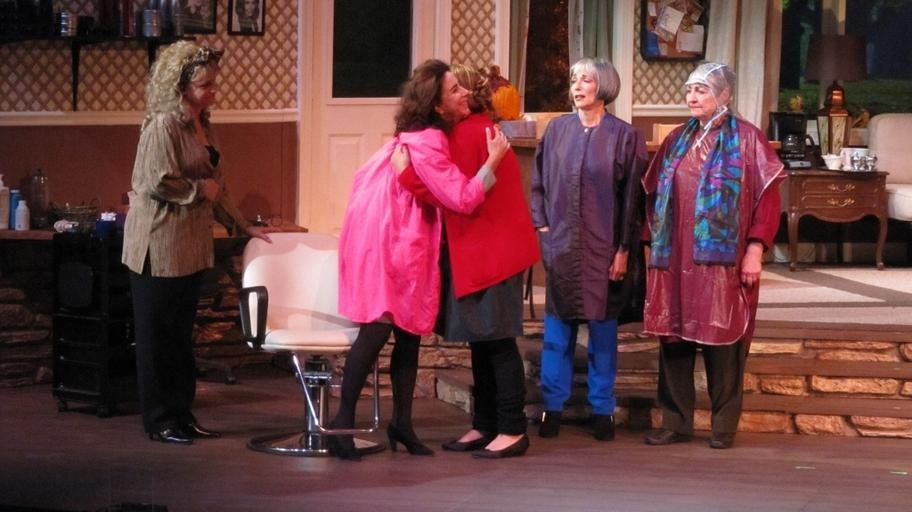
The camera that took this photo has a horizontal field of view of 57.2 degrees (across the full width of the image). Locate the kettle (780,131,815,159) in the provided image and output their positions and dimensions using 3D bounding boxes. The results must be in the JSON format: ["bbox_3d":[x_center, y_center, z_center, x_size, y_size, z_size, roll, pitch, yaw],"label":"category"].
[{"bbox_3d":[3.378,-1.089,8.365,0.418,0.274,0.234,1,3,4],"label":"kettle"}]

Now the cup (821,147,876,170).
[{"bbox_3d":[3.765,-0.909,7.944,0.388,0.142,0.255,-1,1,7],"label":"cup"}]

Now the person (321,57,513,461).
[{"bbox_3d":[-0.299,0.047,5.218,1.084,2.456,0.509,-3,16,-10],"label":"person"}]

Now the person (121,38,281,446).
[{"bbox_3d":[-1.812,-0.087,5.570,0.660,2.601,0.836,11,19,34],"label":"person"}]

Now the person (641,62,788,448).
[{"bbox_3d":[1.654,-0.001,5.531,0.834,2.445,0.631,6,16,21],"label":"person"}]

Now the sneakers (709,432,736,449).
[{"bbox_3d":[1.757,1.221,5.515,0.221,0.085,0.076,0,-1,-29],"label":"sneakers"}]

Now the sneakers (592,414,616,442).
[{"bbox_3d":[1.003,1.180,5.704,0.178,0.172,0.168,6,-12,-26],"label":"sneakers"}]

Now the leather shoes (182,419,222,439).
[{"bbox_3d":[-1.713,1.178,5.668,0.318,0.120,0.097,0,1,-1],"label":"leather shoes"}]

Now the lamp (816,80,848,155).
[{"bbox_3d":[3.812,-1.380,8.405,0.288,0.719,0.479,3,15,12],"label":"lamp"}]

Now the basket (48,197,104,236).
[{"bbox_3d":[-2.960,-0.292,6.631,0.467,0.276,0.441,0,1,4],"label":"basket"}]

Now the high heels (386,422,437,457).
[{"bbox_3d":[-0.247,1.192,5.448,0.455,0.215,0.136,3,1,19],"label":"high heels"}]

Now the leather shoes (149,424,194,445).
[{"bbox_3d":[-1.879,1.179,5.546,0.265,0.098,0.134,-2,0,19],"label":"leather shoes"}]

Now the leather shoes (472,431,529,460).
[{"bbox_3d":[0.313,1.222,5.387,0.393,0.136,0.135,1,0,-16],"label":"leather shoes"}]

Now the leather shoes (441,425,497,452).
[{"bbox_3d":[0.105,1.192,5.484,0.390,0.138,0.134,-2,4,-11],"label":"leather shoes"}]
